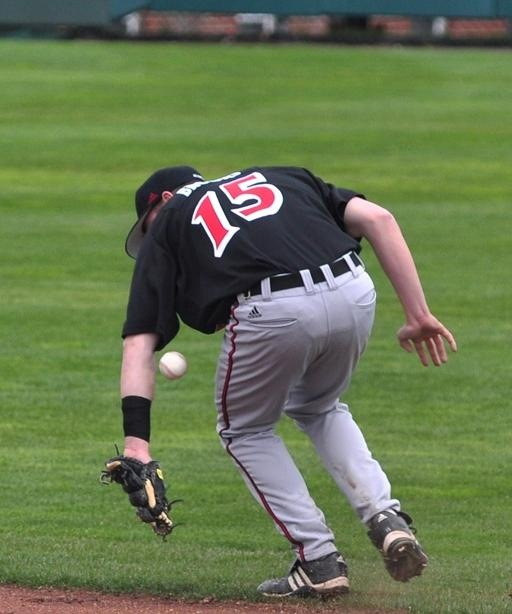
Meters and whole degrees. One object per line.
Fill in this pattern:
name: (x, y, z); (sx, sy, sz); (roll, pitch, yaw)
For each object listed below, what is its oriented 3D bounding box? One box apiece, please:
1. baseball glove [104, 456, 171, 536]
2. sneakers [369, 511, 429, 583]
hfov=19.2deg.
baseball glove: (-0.668, 1.083, 8.459); (0.396, 0.516, 0.179); (-1, 16, -6)
sneakers: (0.811, 1.338, 8.694); (0.224, 0.500, 0.237); (-33, 12, 15)
